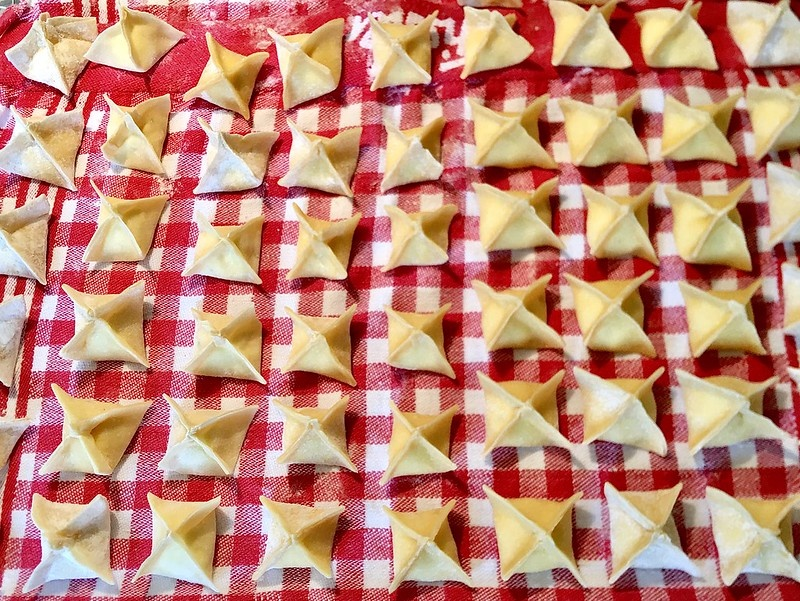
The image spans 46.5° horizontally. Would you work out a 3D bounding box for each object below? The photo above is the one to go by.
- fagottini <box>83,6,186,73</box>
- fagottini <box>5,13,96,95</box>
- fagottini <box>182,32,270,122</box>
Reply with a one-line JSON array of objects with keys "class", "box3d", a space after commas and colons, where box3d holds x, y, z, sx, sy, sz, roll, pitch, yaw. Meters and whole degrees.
[{"class": "fagottini", "box3d": [-0.698, -0.680, 2.410, 0.176, 0.080, 0.194, 13, 57, 12]}, {"class": "fagottini", "box3d": [-0.908, -0.666, 2.421, 0.202, 0.085, 0.233, 24, 73, -15]}, {"class": "fagottini", "box3d": [-0.435, -0.563, 2.348, 0.187, 0.079, 0.233, 17, 87, -3]}]
